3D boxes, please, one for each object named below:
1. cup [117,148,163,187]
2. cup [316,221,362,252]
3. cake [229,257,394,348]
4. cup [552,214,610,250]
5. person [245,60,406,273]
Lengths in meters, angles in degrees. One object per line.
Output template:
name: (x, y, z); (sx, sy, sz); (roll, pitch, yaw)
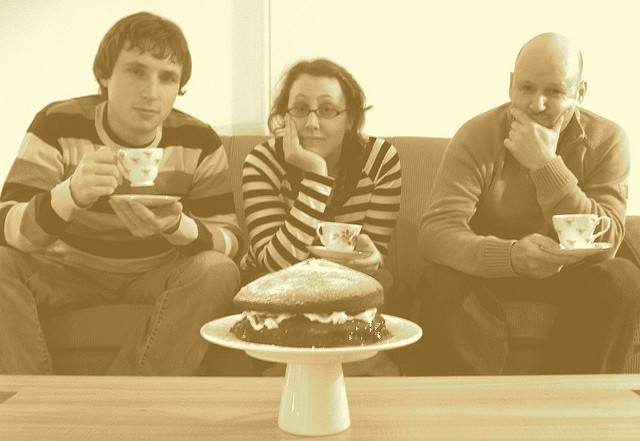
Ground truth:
cup: (-0.717, -0.216, 2.481); (0.203, 0.156, 0.160); (-9, 20, -42)
cup: (0.069, 0.054, 2.516); (0.124, 0.096, 0.122); (2, -4, 0)
cake: (-0.019, 0.170, 1.679); (0.253, 0.125, 0.261); (-1, 3, -16)
cup: (1.057, 0.044, 2.498); (0.211, 0.144, 0.175); (6, 10, 42)
person: (0.030, -0.201, 2.735); (0.645, 0.959, 0.573); (2, 12, -2)
